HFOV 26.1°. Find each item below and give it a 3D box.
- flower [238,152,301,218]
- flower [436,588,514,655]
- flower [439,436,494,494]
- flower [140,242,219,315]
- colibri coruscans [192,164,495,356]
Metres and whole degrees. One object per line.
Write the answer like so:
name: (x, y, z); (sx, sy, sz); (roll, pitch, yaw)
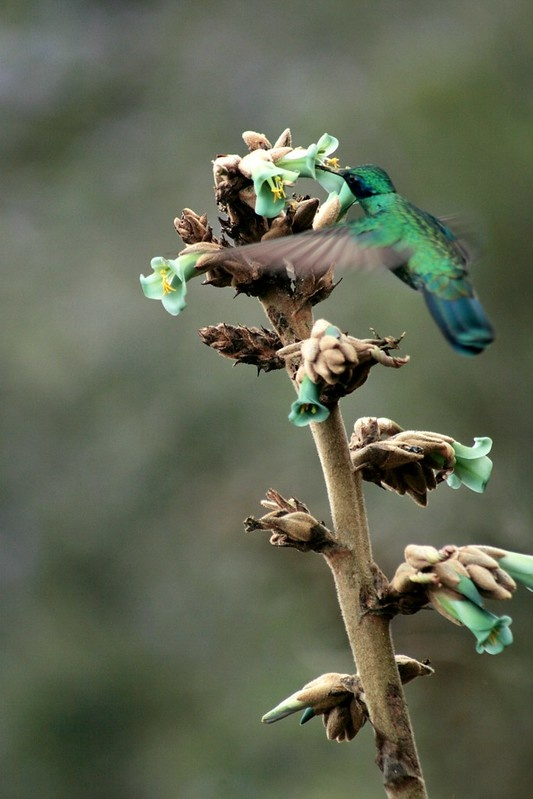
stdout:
flower: (-0.008, -0.464, 2.409); (0.108, 0.081, 0.162); (-6, 52, -20)
flower: (0.405, 0.435, 2.288); (0.172, 0.087, 0.096); (36, 9, 19)
flower: (0.417, 0.150, 2.535); (0.091, 0.092, 0.113); (-12, -16, -28)
flower: (-0.178, -0.247, 2.336); (0.160, 0.151, 0.200); (-15, 22, -3)
colibri coruscans: (0.165, -0.285, 2.485); (0.549, 0.287, 0.572); (-9, 22, 7)
